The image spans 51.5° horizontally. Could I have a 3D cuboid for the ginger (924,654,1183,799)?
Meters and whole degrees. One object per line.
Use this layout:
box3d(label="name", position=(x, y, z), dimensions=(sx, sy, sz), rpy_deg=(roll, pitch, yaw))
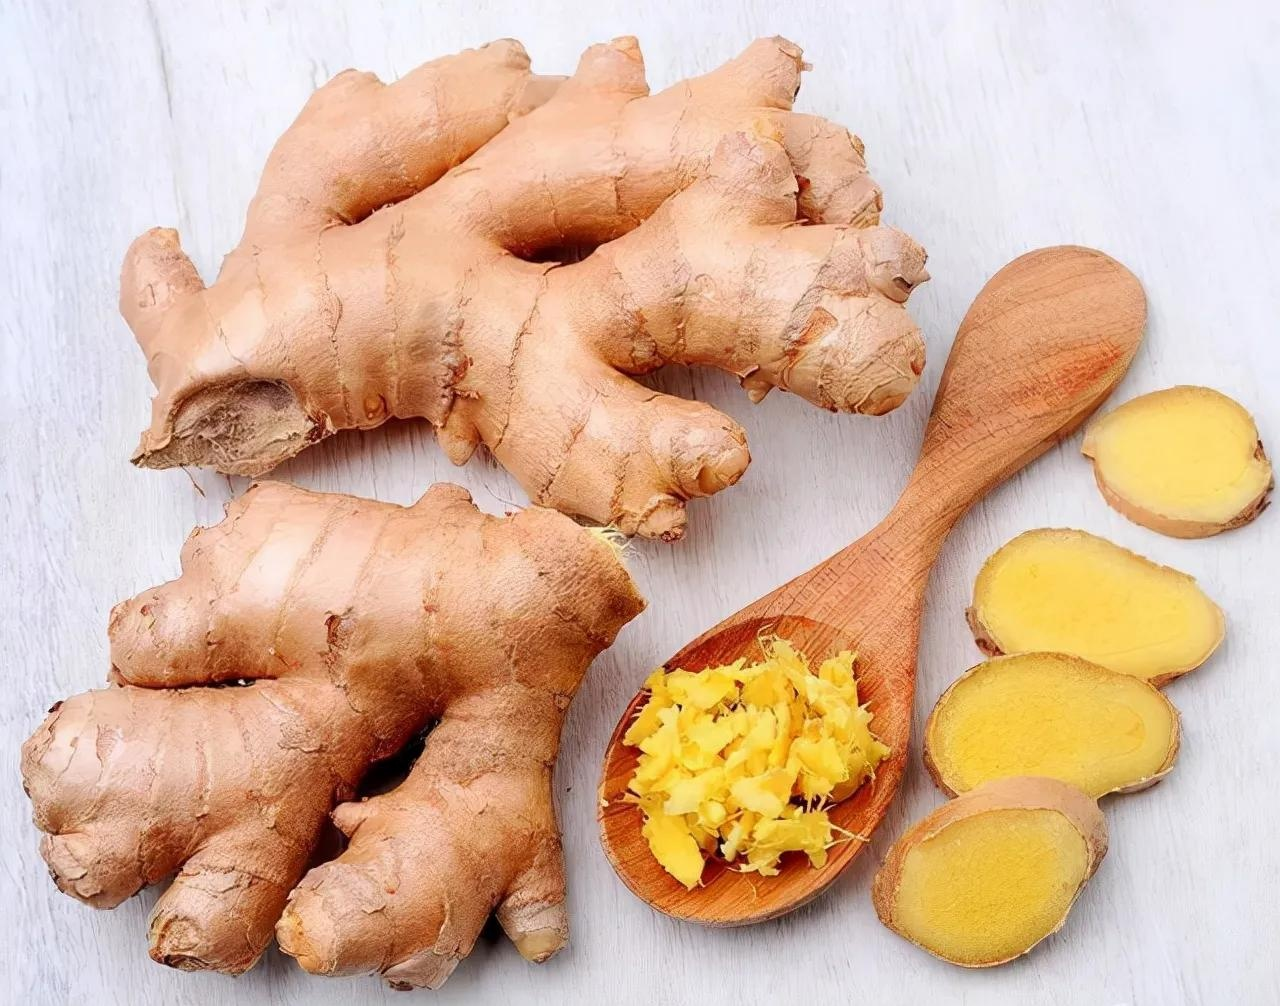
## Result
box3d(label="ginger", position=(0.402, 0.209, 1.262), dimensions=(0.244, 0.042, 0.141), rpy_deg=(-11, 77, 43))

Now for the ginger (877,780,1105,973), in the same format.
box3d(label="ginger", position=(0.325, 0.352, 1.250), dimensions=(0.055, 0.240, 0.175), rpy_deg=(28, 88, 52))

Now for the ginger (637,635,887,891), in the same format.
box3d(label="ginger", position=(0.107, 0.241, 1.247), dimensions=(0.257, 0.126, 0.188), rpy_deg=(-8, 55, -2))

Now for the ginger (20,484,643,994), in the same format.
box3d(label="ginger", position=(-0.272, 0.221, 1.228), dimensions=(0.473, 0.275, 0.464), rpy_deg=(21, 59, 17))

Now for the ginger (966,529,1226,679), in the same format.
box3d(label="ginger", position=(0.448, 0.100, 1.299), dimensions=(0.241, 0.077, 0.119), rpy_deg=(8, 57, 9))
